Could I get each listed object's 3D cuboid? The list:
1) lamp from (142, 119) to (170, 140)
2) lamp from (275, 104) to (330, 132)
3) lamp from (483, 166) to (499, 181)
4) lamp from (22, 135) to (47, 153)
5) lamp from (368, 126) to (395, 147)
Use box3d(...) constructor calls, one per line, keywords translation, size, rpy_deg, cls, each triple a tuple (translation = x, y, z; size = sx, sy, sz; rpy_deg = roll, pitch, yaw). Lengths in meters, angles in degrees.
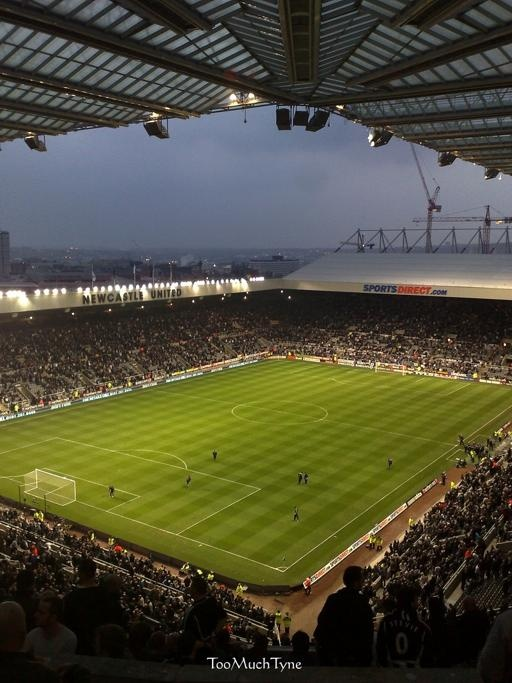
box3d(translation=(-5.563, -11.695, 31.443), size=(1.035, 1.164, 1.388), rpy_deg=(-1, 2, -1), cls="lamp")
box3d(translation=(2.401, -11.643, 29.526), size=(2.560, 1.407, 1.748), rpy_deg=(0, 2, 0), cls="lamp")
box3d(translation=(18.757, -13.285, 44.838), size=(1.038, 1.231, 2.067), rpy_deg=(0, 2, 21), cls="lamp")
box3d(translation=(-13.198, -11.758, 33.786), size=(0.956, 1.159, 1.492), rpy_deg=(-1, 2, -5), cls="lamp")
box3d(translation=(7.484, -12.072, 33.545), size=(0.873, 1.246, 1.385), rpy_deg=(-2, 3, -31), cls="lamp")
